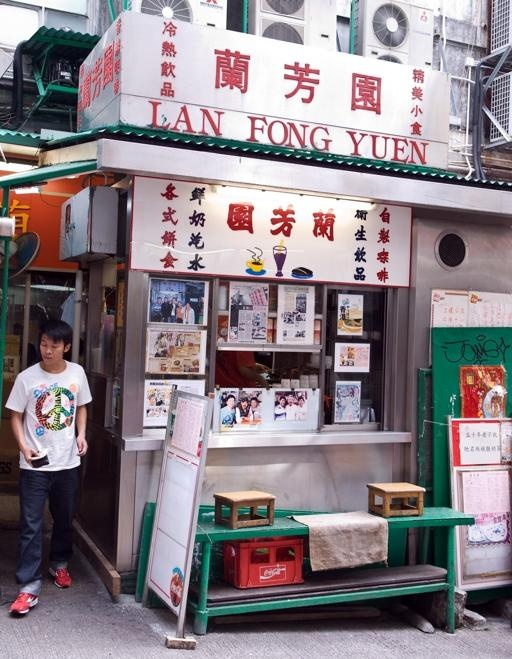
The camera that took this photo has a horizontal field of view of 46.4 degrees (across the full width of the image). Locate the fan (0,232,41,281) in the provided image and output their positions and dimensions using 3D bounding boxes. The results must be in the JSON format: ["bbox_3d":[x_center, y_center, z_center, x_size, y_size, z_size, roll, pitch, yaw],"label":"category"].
[{"bbox_3d":[-1.724,-0.562,4.479,0.373,0.386,0.087,-2,-17,31],"label":"fan"}]

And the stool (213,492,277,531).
[{"bbox_3d":[-0.090,0.987,3.438,0.245,0.163,0.249,3,-6,-21],"label":"stool"}]

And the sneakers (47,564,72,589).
[{"bbox_3d":[-1.261,1.584,3.852,0.081,0.087,0.197,7,-5,-31],"label":"sneakers"}]

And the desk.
[{"bbox_3d":[0.434,1.424,3.553,1.760,0.734,0.489,7,1,-22],"label":"desk"}]

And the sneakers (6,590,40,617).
[{"bbox_3d":[-1.307,1.518,3.336,0.071,0.087,0.187,-2,-10,5],"label":"sneakers"}]

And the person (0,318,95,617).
[{"bbox_3d":[-1.260,0.784,3.560,0.389,1.603,0.682,7,1,7],"label":"person"}]

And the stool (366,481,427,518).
[{"bbox_3d":[0.873,1.070,3.804,0.299,0.197,0.302,1,-2,-11],"label":"stool"}]
